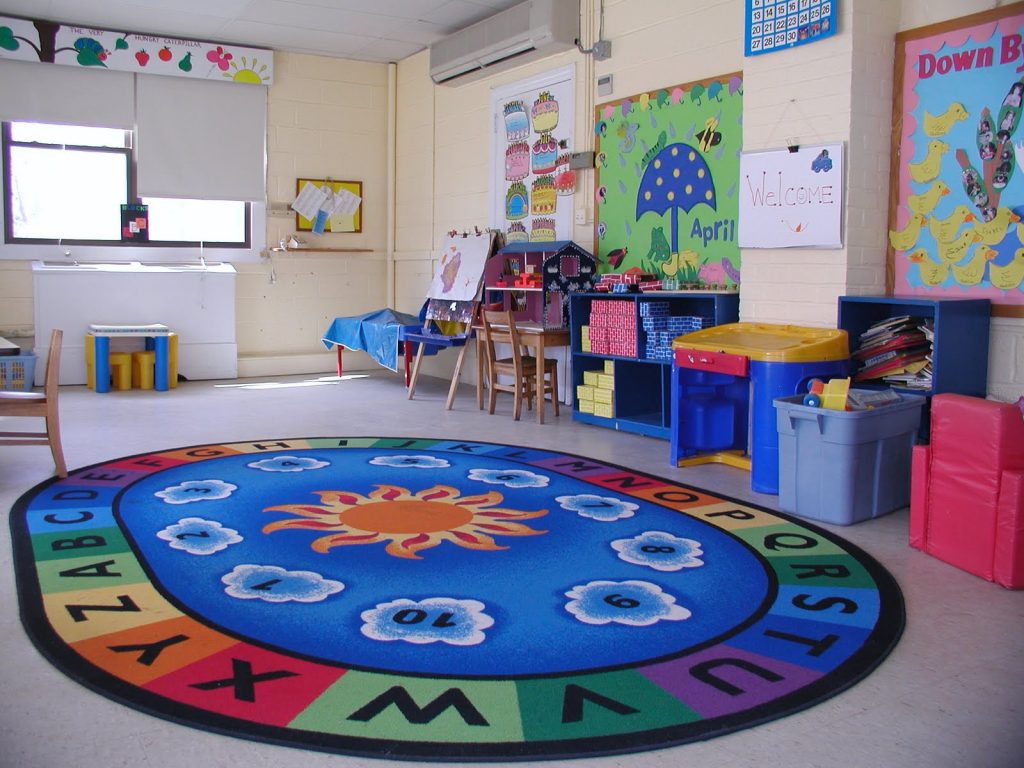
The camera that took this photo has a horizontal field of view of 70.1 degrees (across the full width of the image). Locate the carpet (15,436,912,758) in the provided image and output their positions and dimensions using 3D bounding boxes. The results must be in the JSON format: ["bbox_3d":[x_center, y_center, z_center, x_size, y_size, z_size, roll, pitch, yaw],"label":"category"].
[{"bbox_3d":[-0.341,0.852,3.534,4.192,0.046,2.748,2,10,9],"label":"carpet"}]

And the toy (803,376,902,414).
[{"bbox_3d":[1.932,0.041,4.134,0.602,0.140,0.243,-6,12,-33],"label":"toy"}]

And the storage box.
[{"bbox_3d":[1.858,0.412,4.383,0.918,0.695,0.646,-4,6,-36],"label":"storage box"}]

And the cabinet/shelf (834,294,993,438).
[{"bbox_3d":[2.358,-0.094,4.259,0.512,0.864,0.933,-1,4,-30],"label":"cabinet/shelf"}]

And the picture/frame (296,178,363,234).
[{"bbox_3d":[-2.483,-2.409,9.785,0.914,0.694,0.149,0,19,-28],"label":"picture/frame"}]

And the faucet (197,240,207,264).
[{"bbox_3d":[-3.883,-1.656,9.159,0.093,0.284,0.147,-4,11,-22],"label":"faucet"}]

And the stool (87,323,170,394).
[{"bbox_3d":[-4.238,-0.315,8.416,0.887,0.760,0.834,-1,3,-10],"label":"stool"}]

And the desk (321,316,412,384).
[{"bbox_3d":[-1.497,-0.478,8.511,0.784,0.582,1.020,-3,6,-32],"label":"desk"}]

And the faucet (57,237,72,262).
[{"bbox_3d":[-5.182,-1.562,8.481,0.178,0.297,0.089,10,15,44],"label":"faucet"}]
